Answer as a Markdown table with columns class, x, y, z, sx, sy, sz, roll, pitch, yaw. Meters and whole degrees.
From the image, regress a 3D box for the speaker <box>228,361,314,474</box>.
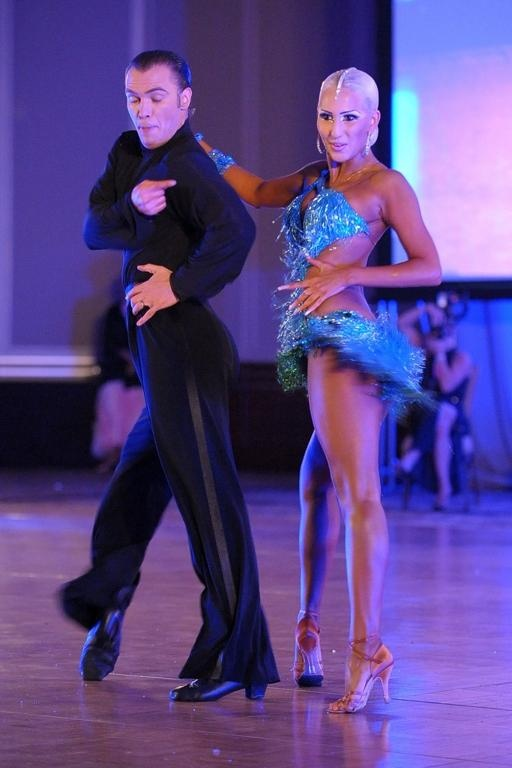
| class | x | y | z | sx | sy | sz | roll | pitch | yaw |
| --- | --- | --- | --- | --- | --- | --- | --- | --- | --- |
| speaker | 0.106 | 0.351 | 8.604 | 0.525 | 0.905 | 0.955 | 9 | -5 | 4 |

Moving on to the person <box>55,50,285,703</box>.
| class | x | y | z | sx | sy | sz | roll | pitch | yaw |
| --- | --- | --- | --- | --- | --- | --- | --- | --- | --- |
| person | -0.161 | -0.023 | 2.076 | 0.321 | 1.288 | 0.513 | -3 | 7 | -37 |
